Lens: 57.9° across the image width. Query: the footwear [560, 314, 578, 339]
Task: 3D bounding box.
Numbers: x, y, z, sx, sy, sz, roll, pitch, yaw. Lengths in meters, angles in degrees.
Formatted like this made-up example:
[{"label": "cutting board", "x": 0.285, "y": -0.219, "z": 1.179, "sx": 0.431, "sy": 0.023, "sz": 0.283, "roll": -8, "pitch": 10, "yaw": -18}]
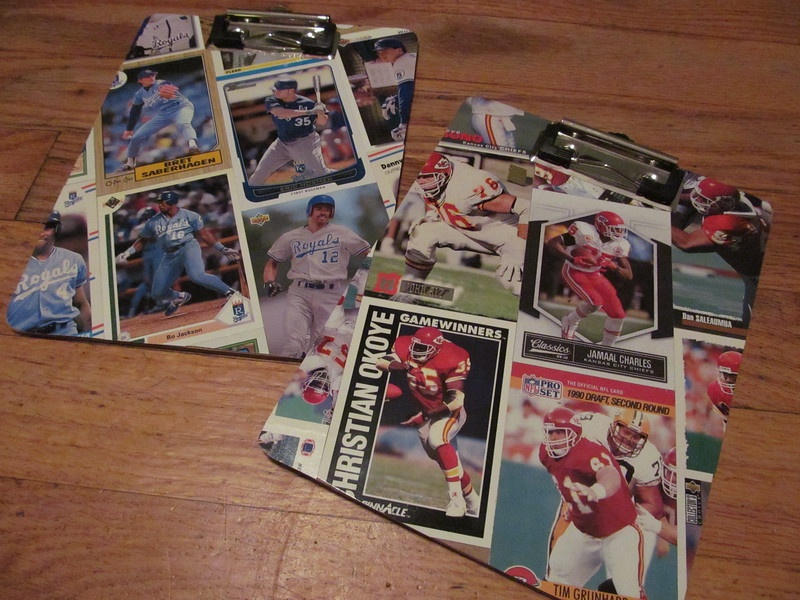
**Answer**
[{"label": "footwear", "x": 0.287, "y": 0.046, "z": 1.234, "sx": 0.021, "sy": 0.040, "sz": 0.021, "roll": 4, "pitch": -4, "yaw": 2}]
